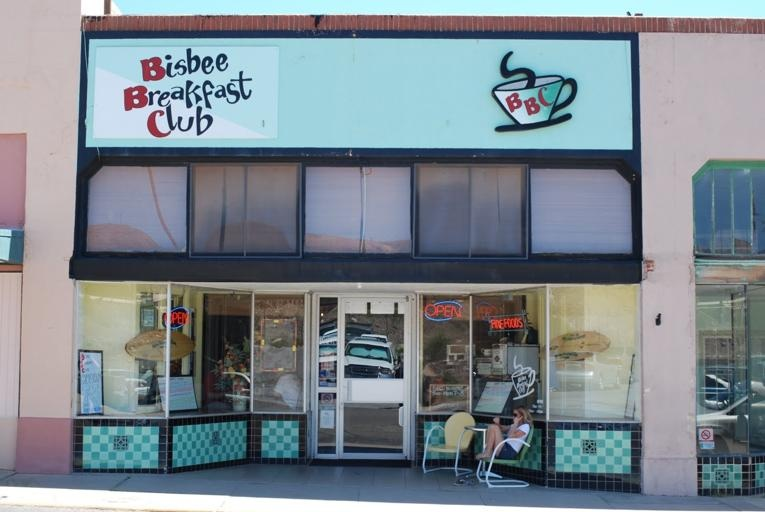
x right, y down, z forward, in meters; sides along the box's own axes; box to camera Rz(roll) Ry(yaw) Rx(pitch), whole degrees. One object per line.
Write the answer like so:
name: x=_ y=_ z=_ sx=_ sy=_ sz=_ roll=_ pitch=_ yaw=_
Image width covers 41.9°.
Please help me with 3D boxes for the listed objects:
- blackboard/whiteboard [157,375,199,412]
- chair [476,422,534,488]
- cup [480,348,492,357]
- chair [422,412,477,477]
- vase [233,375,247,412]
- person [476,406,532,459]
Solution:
blackboard/whiteboard: x=-3.904 y=2.584 z=18.801 sx=0.768 sy=0.732 sz=0.077 roll=-1 pitch=-26 yaw=-38
chair: x=2.232 y=3.769 z=18.746 sx=1.070 sy=1.379 sz=0.992 roll=3 pitch=-9 yaw=-8
cup: x=1.995 y=1.872 z=19.405 sx=0.179 sy=0.128 sz=0.126 roll=-1 pitch=0 yaw=8
chair: x=1.262 y=3.522 z=18.884 sx=0.951 sy=1.156 sz=0.929 roll=4 pitch=-6 yaw=-26
vase: x=-2.804 y=2.703 z=19.712 sx=0.339 sy=0.675 sz=0.358 roll=0 pitch=-7 yaw=-6
person: x=2.229 y=3.241 z=18.413 sx=0.900 sy=1.118 sz=0.594 roll=11 pitch=-4 yaw=6
